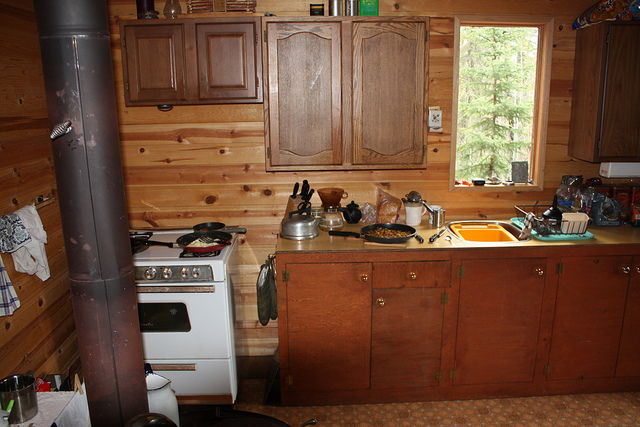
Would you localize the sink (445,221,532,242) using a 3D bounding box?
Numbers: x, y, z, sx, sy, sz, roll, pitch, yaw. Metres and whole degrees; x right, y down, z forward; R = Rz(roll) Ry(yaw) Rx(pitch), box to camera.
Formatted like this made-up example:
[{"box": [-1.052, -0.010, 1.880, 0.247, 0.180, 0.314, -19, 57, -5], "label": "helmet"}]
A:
[{"box": [1.336, 0.142, 3.934, 0.375, 0.112, 0.256, 0, 14, -4], "label": "sink"}]

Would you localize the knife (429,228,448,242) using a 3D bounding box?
[{"box": [0.912, 0.147, 3.659, 0.056, 0.031, 0.313, 13, 22, 34], "label": "knife"}]

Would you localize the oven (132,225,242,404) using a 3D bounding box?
[{"box": [-1.181, 0.808, 3.893, 1.129, 1.112, 0.893, -2, 9, -3], "label": "oven"}]

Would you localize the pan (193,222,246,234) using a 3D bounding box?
[{"box": [-0.855, 0.113, 3.978, 0.296, 0.032, 0.154, 4, 9, 6], "label": "pan"}]
